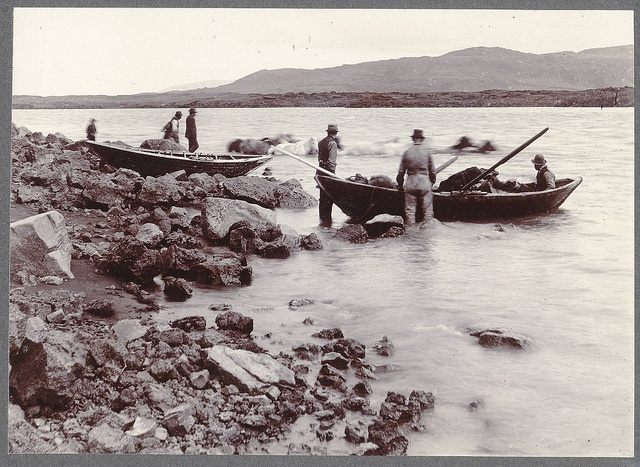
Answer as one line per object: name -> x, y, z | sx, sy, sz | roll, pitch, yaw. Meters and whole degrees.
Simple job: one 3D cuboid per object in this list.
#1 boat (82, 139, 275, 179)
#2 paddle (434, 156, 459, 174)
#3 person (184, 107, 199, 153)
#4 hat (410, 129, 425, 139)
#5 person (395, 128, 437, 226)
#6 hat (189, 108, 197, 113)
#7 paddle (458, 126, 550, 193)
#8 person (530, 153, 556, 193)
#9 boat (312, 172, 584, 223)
boat -> -3.794, -1.939, 20.213 | 4.271, 0.610, 0.890 | 5, 22, -16
paddle -> 2.832, -1.568, 17.742 | 0.999, 0.128, 0.104 | -25, 1, -31
person -> -3.261, -2.598, 19.956 | 0.322, 1.163, 0.964 | -3, 13, -9
hat -> 2.040, -2.089, 16.568 | 0.238, 0.184, 0.195 | -2, 2, 1
person -> 2.051, -1.187, 16.974 | 0.798, 2.127, 0.471 | 0, 14, 4
hat -> -3.151, -3.034, 19.514 | 0.193, 0.142, 0.204 | -1, 12, -3
paddle -> 3.963, -1.674, 17.304 | 0.170, 0.330, 3.443 | 7, -27, -43
person -> 4.899, -1.364, 17.337 | 0.465, 0.940, 0.603 | 3, 25, 23
boat -> 3.180, -0.833, 17.720 | 7.409, 1.035, 1.631 | 1, 29, 1
